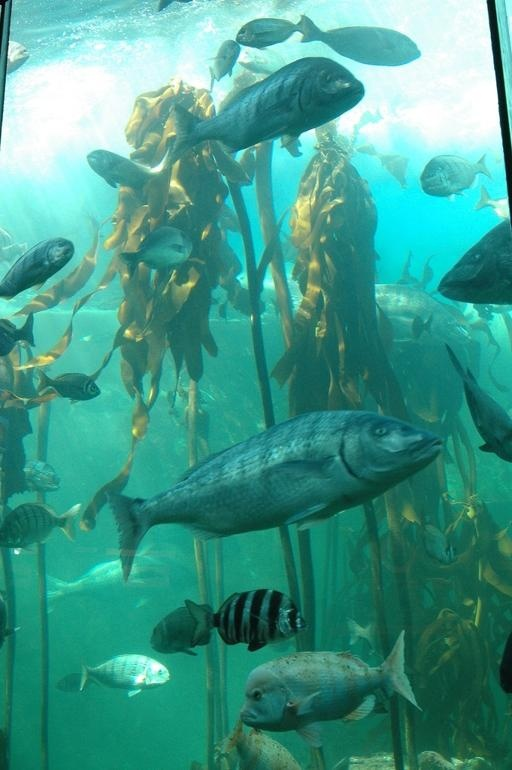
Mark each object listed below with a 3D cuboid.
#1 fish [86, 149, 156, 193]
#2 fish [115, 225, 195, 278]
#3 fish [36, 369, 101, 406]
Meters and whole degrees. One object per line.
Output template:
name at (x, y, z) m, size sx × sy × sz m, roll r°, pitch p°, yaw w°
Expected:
fish at (-1.035, -1.619, 5.372) m, size 0.502 × 0.245 × 0.374 m, roll -4°, pitch -14°, yaw -21°
fish at (-0.676, -0.916, 4.760) m, size 0.467 × 0.258 × 0.278 m, roll -19°, pitch 29°, yaw -37°
fish at (-1.358, 0.022, 5.060) m, size 0.388 × 0.264 × 0.558 m, roll -4°, pitch -13°, yaw -18°
